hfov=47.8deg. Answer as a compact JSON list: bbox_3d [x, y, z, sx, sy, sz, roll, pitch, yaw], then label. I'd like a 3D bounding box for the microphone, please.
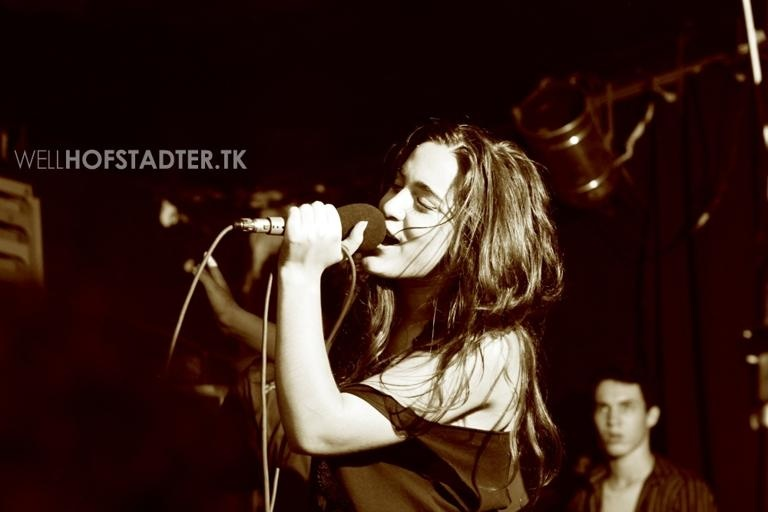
[{"bbox_3d":[-0.215,-0.060,2.595,0.510,0.193,0.160,4,-8,-26],"label":"microphone"}]
